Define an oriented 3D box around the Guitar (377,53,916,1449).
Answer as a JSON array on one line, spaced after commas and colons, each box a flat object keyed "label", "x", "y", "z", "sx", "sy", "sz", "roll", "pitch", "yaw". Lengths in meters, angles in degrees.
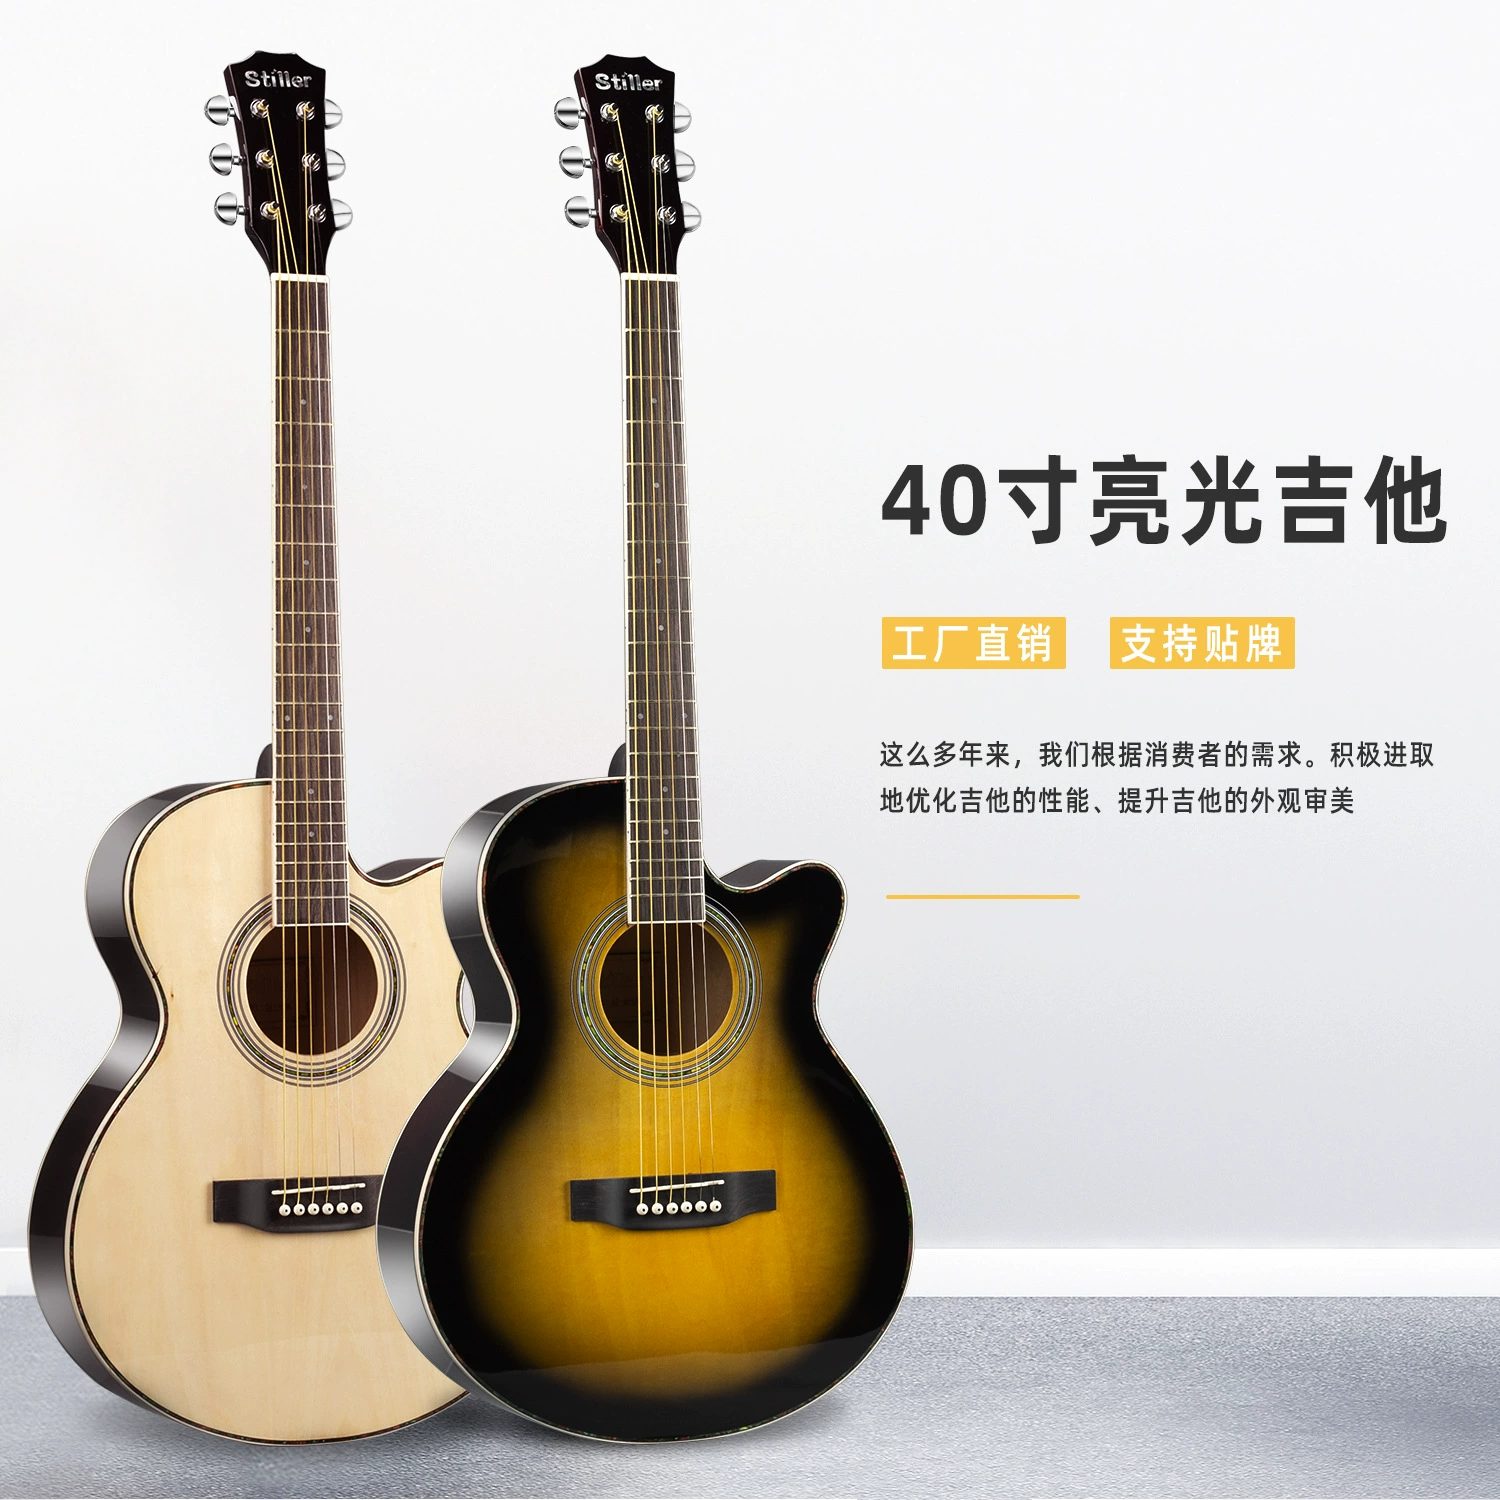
[{"label": "Guitar", "x": -0.140, "y": -0.031, "z": 2.549, "sx": 0.676, "sy": 1.773, "sz": 0.296, "roll": 0, "pitch": 2, "yaw": -18}]
